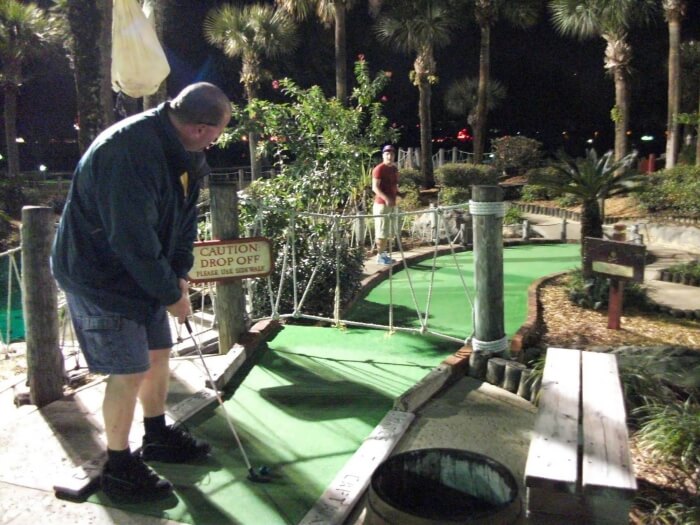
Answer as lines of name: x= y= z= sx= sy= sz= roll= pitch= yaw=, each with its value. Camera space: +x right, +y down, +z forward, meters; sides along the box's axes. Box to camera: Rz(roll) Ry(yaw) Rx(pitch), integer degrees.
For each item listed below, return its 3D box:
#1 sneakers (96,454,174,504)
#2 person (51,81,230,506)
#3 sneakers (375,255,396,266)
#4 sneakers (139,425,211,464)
sneakers: x=-1.363 y=1.373 z=4.201 sx=0.458 sy=0.274 sz=0.245 roll=2 pitch=1 yaw=-1
person: x=-1.335 y=0.193 z=4.211 sx=1.026 sy=2.625 sz=0.645 roll=-5 pitch=5 yaw=-25
sneakers: x=0.545 y=-0.037 z=10.393 sx=0.352 sy=0.155 sz=0.128 roll=-4 pitch=13 yaw=-31
sneakers: x=-1.202 y=1.265 z=4.574 sx=0.516 sy=0.243 sz=0.197 roll=1 pitch=2 yaw=-9
